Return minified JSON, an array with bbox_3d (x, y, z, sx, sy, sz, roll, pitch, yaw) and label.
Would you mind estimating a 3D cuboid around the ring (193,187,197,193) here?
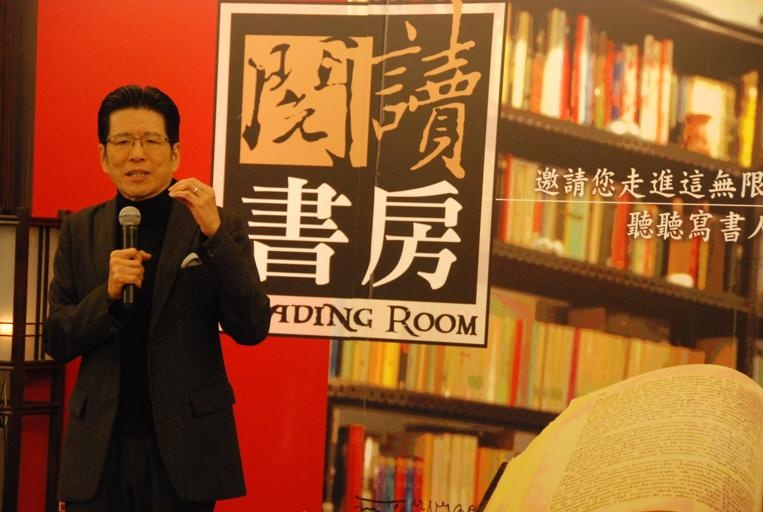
[{"bbox_3d":[-0.734,-0.263,4.268,0.019,0.020,0.005,5,2,-2],"label":"ring"}]
